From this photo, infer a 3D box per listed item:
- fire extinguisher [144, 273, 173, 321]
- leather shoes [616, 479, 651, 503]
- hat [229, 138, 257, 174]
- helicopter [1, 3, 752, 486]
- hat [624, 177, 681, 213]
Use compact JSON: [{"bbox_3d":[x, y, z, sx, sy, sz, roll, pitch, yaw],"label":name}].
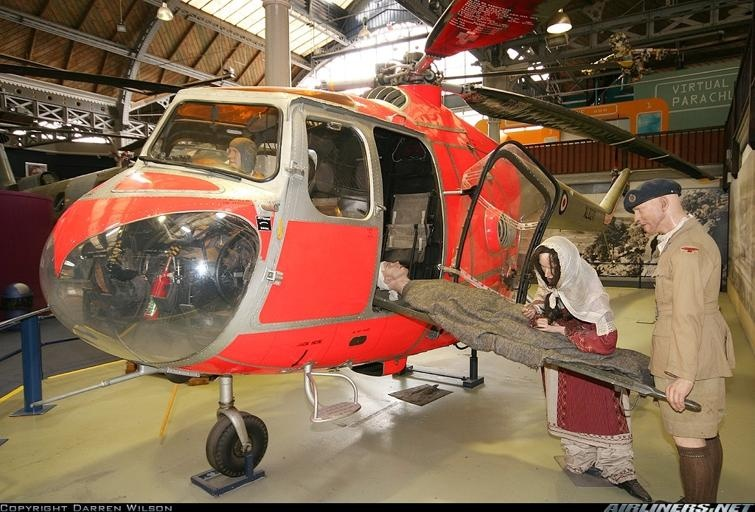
[{"bbox_3d":[-1.666,0.302,3.854,0.218,0.360,0.040,-1,12,-2],"label":"fire extinguisher"},{"bbox_3d":[2.267,2.049,4.494,0.095,0.105,0.279,-18,19,-39],"label":"leather shoes"},{"bbox_3d":[-1.159,-0.867,4.380,0.247,0.306,0.257,1,12,7],"label":"hat"},{"bbox_3d":[0.031,-0.371,5.454,5.683,2.734,4.486,3,2,-44],"label":"helicopter"},{"bbox_3d":[2.144,-0.501,4.002,0.370,0.131,0.275,-20,4,-5],"label":"hat"}]
